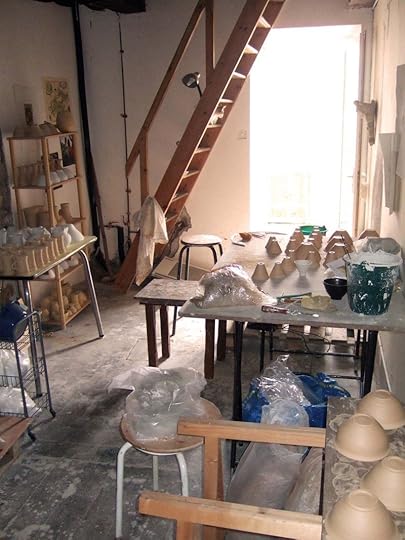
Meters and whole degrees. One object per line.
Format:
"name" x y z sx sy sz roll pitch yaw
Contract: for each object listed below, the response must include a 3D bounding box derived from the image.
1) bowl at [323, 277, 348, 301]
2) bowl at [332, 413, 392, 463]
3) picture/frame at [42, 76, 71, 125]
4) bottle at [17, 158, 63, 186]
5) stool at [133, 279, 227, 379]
"bowl" 0.684 0.081 2.135 0.125 0.085 0.119 1 18 0
"bowl" 0.377 0.381 0.974 0.136 0.064 0.135 -4 5 0
"picture/frame" -1.605 -1.874 4.552 0.760 0.502 0.024 15 23 42
"bottle" -1.521 -0.937 3.945 0.277 0.282 0.553 2 12 22
"stool" -0.124 0.410 3.428 0.739 0.760 0.802 5 23 10
